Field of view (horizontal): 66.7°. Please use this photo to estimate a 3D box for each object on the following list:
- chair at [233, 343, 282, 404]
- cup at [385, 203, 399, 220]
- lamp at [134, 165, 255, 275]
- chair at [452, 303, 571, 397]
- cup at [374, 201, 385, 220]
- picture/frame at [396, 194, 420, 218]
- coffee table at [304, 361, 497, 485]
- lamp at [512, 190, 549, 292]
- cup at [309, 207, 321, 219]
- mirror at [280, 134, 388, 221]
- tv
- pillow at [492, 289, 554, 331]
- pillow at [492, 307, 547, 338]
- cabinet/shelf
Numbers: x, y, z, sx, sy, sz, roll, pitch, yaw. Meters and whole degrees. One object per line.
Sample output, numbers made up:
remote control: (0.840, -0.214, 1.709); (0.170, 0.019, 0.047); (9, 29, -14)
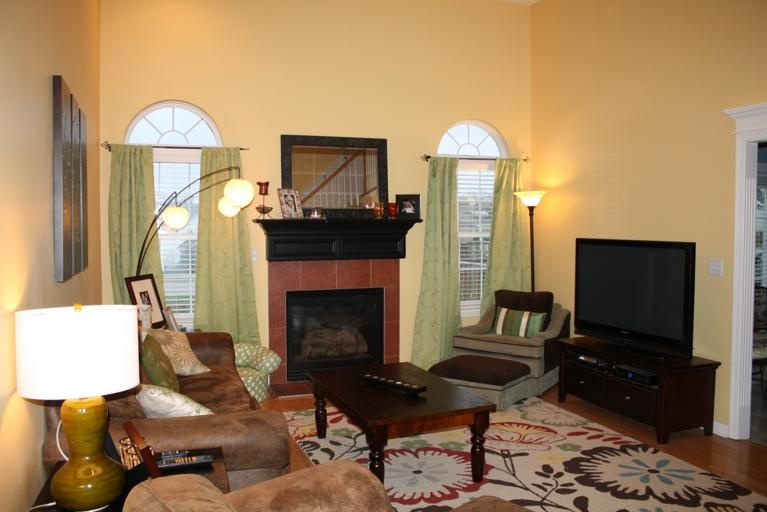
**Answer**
chair: (-1.217, 1.099, 5.640); (0.573, 0.430, 0.521); (2, -1, -12)
cup: (0.099, -0.528, 6.779); (0.188, 0.255, 0.163); (1, -2, 3)
lamp: (-1.949, -0.371, 6.097); (1.392, 1.128, 0.915); (0, 10, 3)
chair: (1.537, 0.995, 6.835); (1.103, 0.955, 1.041); (1, -3, 34)
cup: (-0.053, -0.545, 6.755); (0.184, 0.241, 0.175); (0, -2, 0)
picture/frame: (0.277, -0.591, 6.877); (0.303, 0.273, 0.029); (0, -1, -7)
coffee table: (0.195, 1.447, 4.654); (0.882, 0.465, 1.258); (0, 2, -25)
lamp: (1.802, -0.189, 7.299); (0.360, 1.271, 0.522); (3, 11, 14)
cup: (-0.775, -0.491, 6.608); (0.128, 0.130, 0.123); (0, -3, 0)
mirror: (-0.630, -0.899, 6.735); (1.176, 0.771, 0.082); (0, -2, -16)
tv: (2.453, 0.436, 5.595); (0.192, 1.063, 1.318); (3, -1, -28)
pillow: (1.610, 0.634, 6.709); (0.481, 0.316, 0.170); (2, -28, 29)
pillow: (1.575, 0.755, 6.635); (0.342, 0.181, 0.116); (8, -29, 35)
cabinet/shelf: (2.485, 1.161, 5.471); (0.758, 0.648, 1.398); (1, 3, -21)
